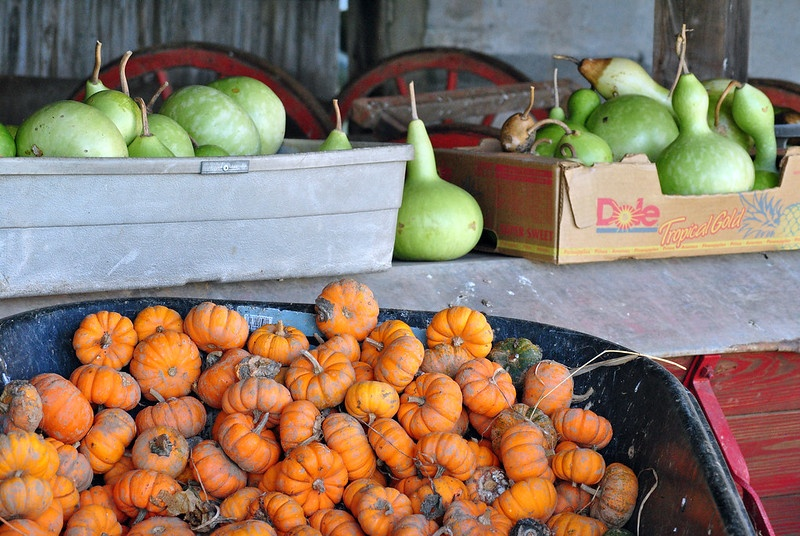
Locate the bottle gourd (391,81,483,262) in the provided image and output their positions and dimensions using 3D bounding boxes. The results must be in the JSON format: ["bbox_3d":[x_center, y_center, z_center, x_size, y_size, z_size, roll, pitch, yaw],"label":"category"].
[{"bbox_3d":[0.122,-0.268,2.496,0.261,0.532,0.206,9,25,18],"label":"bottle gourd"}]
